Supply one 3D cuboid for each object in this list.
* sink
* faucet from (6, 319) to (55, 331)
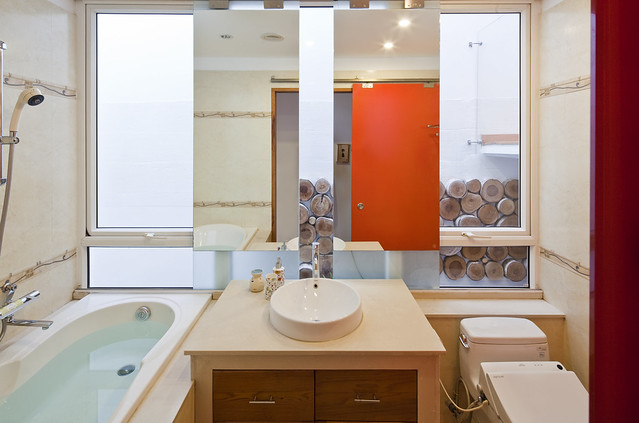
[{"bbox_3d":[-0.027,0.551,2.941,0.538,0.228,0.407,0,3,3],"label":"sink"},{"bbox_3d":[-1.756,0.667,2.940,0.234,0.072,0.136,-1,3,-26],"label":"faucet"}]
